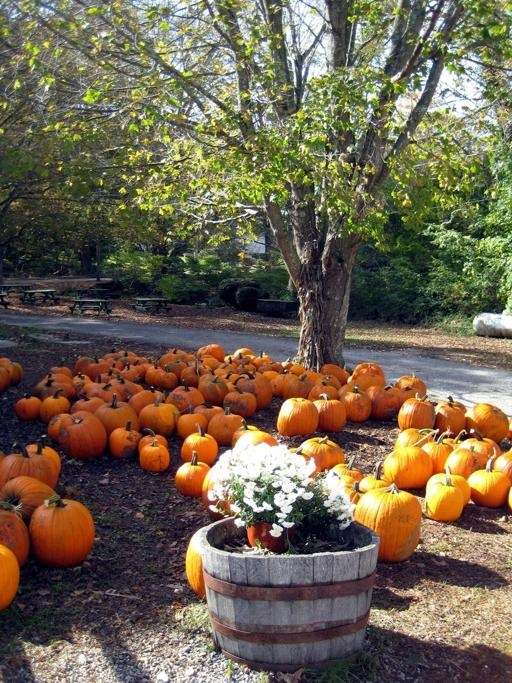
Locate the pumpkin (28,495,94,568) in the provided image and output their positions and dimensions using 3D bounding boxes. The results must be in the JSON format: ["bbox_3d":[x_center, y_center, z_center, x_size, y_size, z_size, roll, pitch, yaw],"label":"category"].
[{"bbox_3d":[-1.254,1.242,3.416,0.383,0.432,0.274,1,11,-22],"label":"pumpkin"}]

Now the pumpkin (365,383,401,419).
[{"bbox_3d":[1.725,0.794,7.093,0.426,0.415,0.441,0,0,28],"label":"pumpkin"}]

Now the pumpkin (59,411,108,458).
[{"bbox_3d":[-1.742,0.902,5.399,0.440,0.419,0.448,1,6,-14],"label":"pumpkin"}]

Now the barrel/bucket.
[{"bbox_3d":[0.126,1.053,2.373,0.651,0.362,0.600,0,3,0],"label":"barrel/bucket"}]

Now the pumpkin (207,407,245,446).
[{"bbox_3d":[-0.322,0.876,5.677,0.397,0.350,0.391,-1,7,26],"label":"pumpkin"}]

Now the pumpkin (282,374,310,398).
[{"bbox_3d":[0.543,0.605,7.218,0.334,0.376,0.327,4,6,2],"label":"pumpkin"}]

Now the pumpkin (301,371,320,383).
[{"bbox_3d":[0.761,0.505,7.453,0.211,0.184,0.201,2,8,2],"label":"pumpkin"}]

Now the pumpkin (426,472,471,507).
[{"bbox_3d":[1.602,1.187,4.357,0.349,0.307,0.340,14,-18,-35],"label":"pumpkin"}]

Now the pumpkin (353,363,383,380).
[{"bbox_3d":[1.712,0.435,8.086,0.331,0.312,0.329,3,5,22],"label":"pumpkin"}]

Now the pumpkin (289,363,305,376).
[{"bbox_3d":[0.633,0.444,8.294,0.203,0.187,0.195,-8,4,-21],"label":"pumpkin"}]

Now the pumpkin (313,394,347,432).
[{"bbox_3d":[0.914,0.827,6.373,0.447,0.474,0.400,0,4,16],"label":"pumpkin"}]

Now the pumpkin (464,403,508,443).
[{"bbox_3d":[2.562,0.927,5.926,0.358,0.315,0.345,-3,25,-22],"label":"pumpkin"}]

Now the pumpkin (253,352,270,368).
[{"bbox_3d":[0.149,0.312,8.661,0.243,0.302,0.248,5,7,41],"label":"pumpkin"}]

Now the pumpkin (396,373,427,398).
[{"bbox_3d":[2.098,0.622,7.281,0.398,0.349,0.386,0,7,-35],"label":"pumpkin"}]

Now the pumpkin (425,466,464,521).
[{"bbox_3d":[1.538,1.225,4.281,0.319,0.431,0.317,10,11,22],"label":"pumpkin"}]

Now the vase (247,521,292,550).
[{"bbox_3d":[0.073,0.971,2.634,0.192,0.120,0.190,9,-7,-39],"label":"vase"}]

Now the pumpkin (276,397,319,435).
[{"bbox_3d":[0.471,0.824,6.094,0.428,0.375,0.406,1,11,-4],"label":"pumpkin"}]

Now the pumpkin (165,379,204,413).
[{"bbox_3d":[-0.838,0.651,6.335,0.365,0.329,0.357,-6,8,21],"label":"pumpkin"}]

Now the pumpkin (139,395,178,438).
[{"bbox_3d":[-1.064,0.798,5.905,0.462,0.427,0.429,-3,3,-43],"label":"pumpkin"}]

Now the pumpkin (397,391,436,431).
[{"bbox_3d":[1.818,0.793,6.274,0.413,0.459,0.398,5,11,8],"label":"pumpkin"}]

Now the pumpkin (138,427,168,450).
[{"bbox_3d":[-1.006,0.927,5.338,0.282,0.261,0.272,-1,2,-30],"label":"pumpkin"}]

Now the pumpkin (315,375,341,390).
[{"bbox_3d":[0.970,0.546,7.206,0.233,0.209,0.234,3,6,36],"label":"pumpkin"}]

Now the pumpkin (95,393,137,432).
[{"bbox_3d":[-1.525,0.781,5.673,0.408,0.401,0.408,2,8,41],"label":"pumpkin"}]

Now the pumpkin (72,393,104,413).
[{"bbox_3d":[-1.889,0.698,5.903,0.240,0.228,0.242,-3,6,38],"label":"pumpkin"}]

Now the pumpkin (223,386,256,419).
[{"bbox_3d":[-0.237,0.763,6.634,0.343,0.316,0.346,2,4,39],"label":"pumpkin"}]

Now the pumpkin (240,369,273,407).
[{"bbox_3d":[0.088,0.661,7.054,0.444,0.476,0.415,-6,-3,-14],"label":"pumpkin"}]

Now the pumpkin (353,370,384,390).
[{"bbox_3d":[1.609,0.553,7.635,0.341,0.320,0.336,0,3,18],"label":"pumpkin"}]

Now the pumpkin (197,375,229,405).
[{"bbox_3d":[-0.597,0.611,6.939,0.392,0.451,0.388,3,11,-28],"label":"pumpkin"}]

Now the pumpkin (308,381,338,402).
[{"bbox_3d":[0.871,0.642,6.812,0.242,0.213,0.237,-3,2,22],"label":"pumpkin"}]

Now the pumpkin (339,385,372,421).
[{"bbox_3d":[1.268,0.783,6.743,0.442,0.502,0.444,-1,1,26],"label":"pumpkin"}]

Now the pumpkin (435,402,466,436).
[{"bbox_3d":[2.206,0.896,6.034,0.371,0.324,0.353,-1,9,-22],"label":"pumpkin"}]

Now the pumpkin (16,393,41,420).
[{"bbox_3d":[-2.660,0.800,6.204,0.276,0.286,0.280,1,11,-22],"label":"pumpkin"}]

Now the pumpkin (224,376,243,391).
[{"bbox_3d":[-0.299,0.560,7.150,0.207,0.228,0.199,-2,2,-25],"label":"pumpkin"}]

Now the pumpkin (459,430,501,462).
[{"bbox_3d":[2.088,0.966,5.039,0.334,0.317,0.334,7,11,42],"label":"pumpkin"}]

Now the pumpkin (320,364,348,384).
[{"bbox_3d":[1.237,0.545,8.237,0.342,0.291,0.328,7,3,-11],"label":"pumpkin"}]

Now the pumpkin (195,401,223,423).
[{"bbox_3d":[-0.538,0.794,5.996,0.216,0.180,0.209,-2,2,-31],"label":"pumpkin"}]

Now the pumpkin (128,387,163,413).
[{"bbox_3d":[-1.297,0.679,6.231,0.327,0.347,0.296,1,-4,-8],"label":"pumpkin"}]

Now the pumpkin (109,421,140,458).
[{"bbox_3d":[-1.332,0.982,5.362,0.323,0.402,0.207,6,10,4],"label":"pumpkin"}]
